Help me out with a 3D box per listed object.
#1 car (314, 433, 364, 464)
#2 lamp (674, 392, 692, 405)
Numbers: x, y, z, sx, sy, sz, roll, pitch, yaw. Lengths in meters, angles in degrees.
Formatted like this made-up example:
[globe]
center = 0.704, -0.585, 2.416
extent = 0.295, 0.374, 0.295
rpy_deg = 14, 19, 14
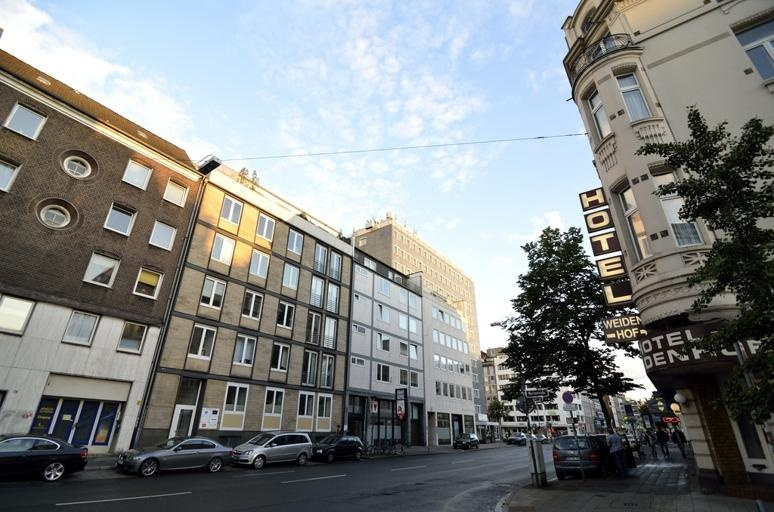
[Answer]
[car]
center = -3.569, 13.754, 27.649
extent = 3.750, 1.680, 1.060
rpy_deg = 20, -34, -40
[lamp]
center = 12.528, 6.049, 16.433
extent = 0.506, 0.489, 0.306
rpy_deg = -22, -32, 36
